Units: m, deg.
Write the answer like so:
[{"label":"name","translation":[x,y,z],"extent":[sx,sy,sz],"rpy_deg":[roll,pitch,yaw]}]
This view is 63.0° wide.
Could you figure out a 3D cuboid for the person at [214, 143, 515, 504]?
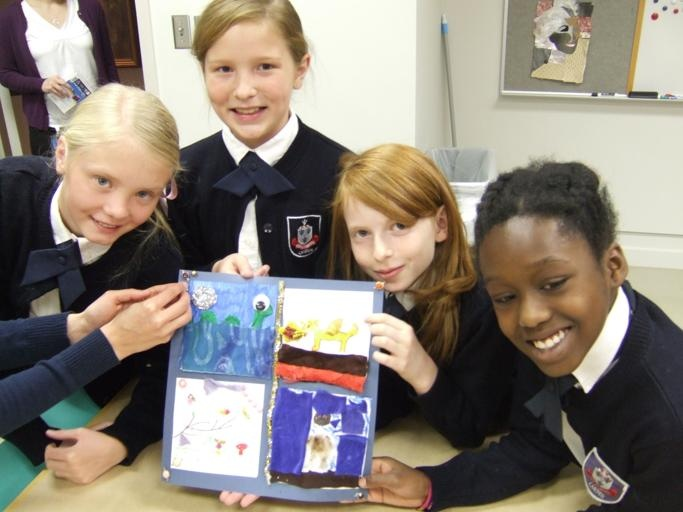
[{"label":"person","translation":[0.231,0.106,1.787],"extent":[0.715,0.913,1.115],"rpy_deg":[-6,7,31]}]

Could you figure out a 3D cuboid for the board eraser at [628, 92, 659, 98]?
[{"label":"board eraser","translation":[2.009,-1.075,3.721],"extent":[0.179,0.048,0.039],"rpy_deg":[8,20,25]}]
